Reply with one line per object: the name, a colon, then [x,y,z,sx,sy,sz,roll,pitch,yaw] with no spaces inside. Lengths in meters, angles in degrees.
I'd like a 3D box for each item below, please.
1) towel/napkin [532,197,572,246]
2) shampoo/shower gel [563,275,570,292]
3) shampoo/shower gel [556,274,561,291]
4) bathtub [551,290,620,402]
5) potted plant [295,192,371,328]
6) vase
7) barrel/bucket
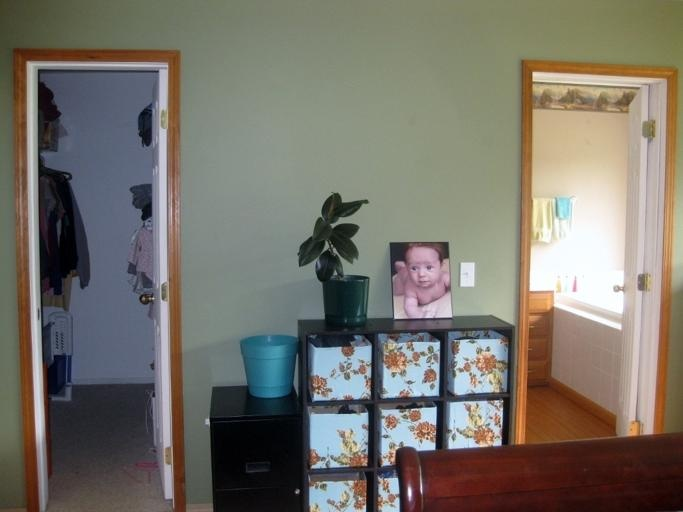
towel/napkin: [1.951,-0.345,5.580,0.385,0.371,0.093,-2,4,-12]
shampoo/shower gel: [2.133,0.256,5.673,0.057,0.142,0.144,0,3,19]
shampoo/shower gel: [2.034,0.258,5.592,0.067,0.142,0.291,0,2,19]
bathtub: [2.026,0.786,4.998,0.263,0.858,0.843,0,4,-5]
potted plant: [-0.043,0.026,3.469,0.384,0.756,0.450,-1,3,0]
vase: [-0.405,0.629,3.504,0.321,0.283,0.317,-1,1,4]
barrel/bucket: [-0.405,0.631,3.506,0.321,0.283,0.317,-1,1,0]
